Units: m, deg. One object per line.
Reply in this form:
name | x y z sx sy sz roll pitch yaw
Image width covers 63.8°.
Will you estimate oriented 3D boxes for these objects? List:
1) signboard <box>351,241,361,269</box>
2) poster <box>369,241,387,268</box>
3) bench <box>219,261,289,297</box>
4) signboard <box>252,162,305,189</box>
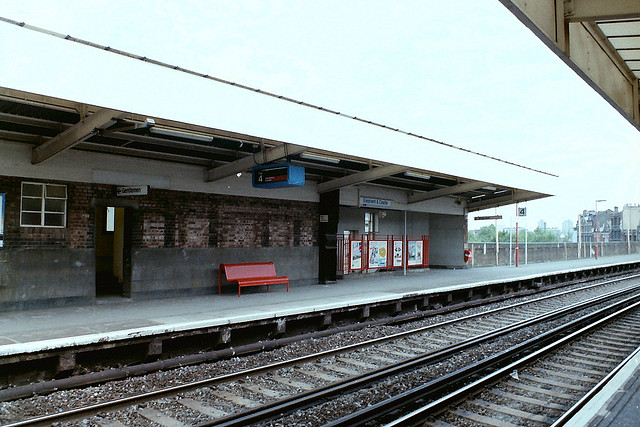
signboard | 1.420 1.664 20.929 0.129 1.134 0.639 4 5 34
poster | 2.409 1.696 22.016 1.318 1.224 0.116 5 -4 -44
bench | -2.111 2.004 15.767 1.921 1.018 0.987 -1 5 -35
signboard | -1.220 -1.069 14.852 1.307 0.626 0.720 -3 -5 30
